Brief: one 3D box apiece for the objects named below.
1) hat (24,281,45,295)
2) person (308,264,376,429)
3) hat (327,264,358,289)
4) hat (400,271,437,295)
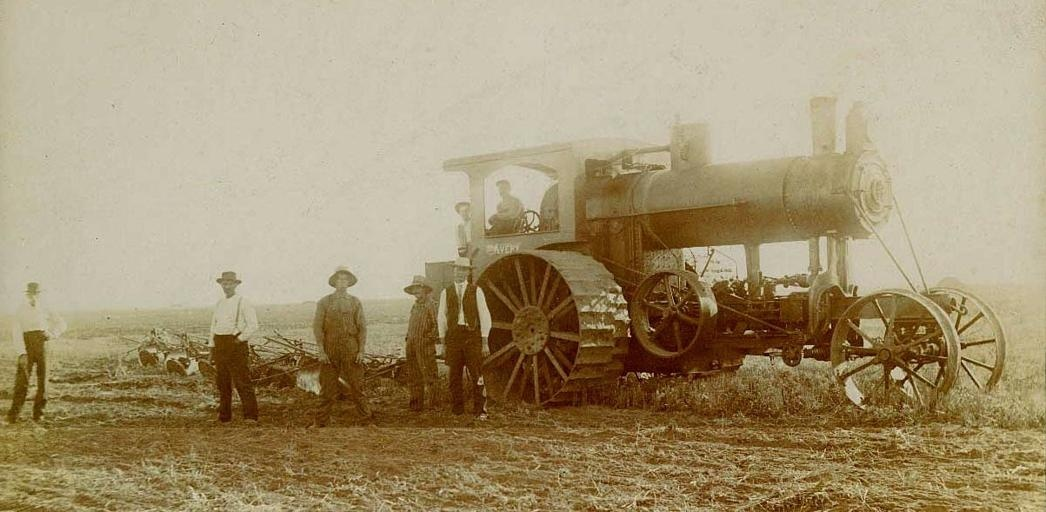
[{"bbox_3d":[-9.753,0.672,18.650,0.242,0.378,0.859,-9,13,-29],"label":"hat"},{"bbox_3d":[-3.705,1.822,18.873,1.106,3.106,0.789,-5,13,-12],"label":"person"},{"bbox_3d":[-3.613,0.460,18.682,0.516,0.467,0.663,-5,11,-13],"label":"hat"},{"bbox_3d":[-1.946,0.600,18.213,0.490,0.204,0.445,1,-33,1],"label":"hat"}]
